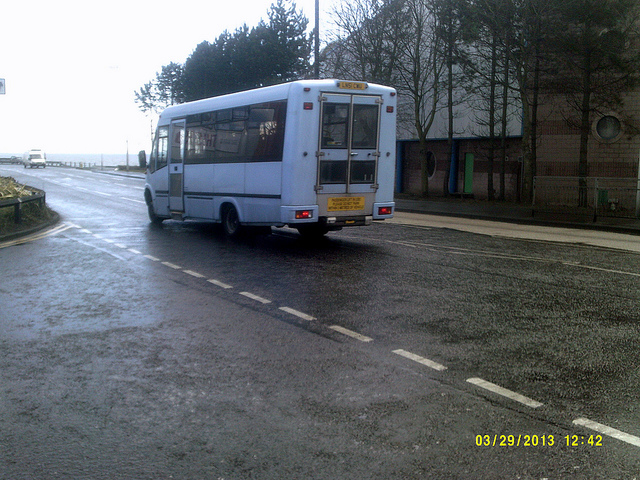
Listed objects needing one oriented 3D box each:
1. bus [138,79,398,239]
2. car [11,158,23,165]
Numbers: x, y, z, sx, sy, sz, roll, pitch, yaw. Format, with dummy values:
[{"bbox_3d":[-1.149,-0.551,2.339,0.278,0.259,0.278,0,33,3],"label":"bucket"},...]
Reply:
[{"bbox_3d":[-2.429,-2.252,16.121,3.134,4.584,9.297,-3,8,-42],"label":"bus"},{"bbox_3d":[-63.827,-16.625,111.995,2.678,0.957,2.225,-10,43,-29],"label":"car"}]
